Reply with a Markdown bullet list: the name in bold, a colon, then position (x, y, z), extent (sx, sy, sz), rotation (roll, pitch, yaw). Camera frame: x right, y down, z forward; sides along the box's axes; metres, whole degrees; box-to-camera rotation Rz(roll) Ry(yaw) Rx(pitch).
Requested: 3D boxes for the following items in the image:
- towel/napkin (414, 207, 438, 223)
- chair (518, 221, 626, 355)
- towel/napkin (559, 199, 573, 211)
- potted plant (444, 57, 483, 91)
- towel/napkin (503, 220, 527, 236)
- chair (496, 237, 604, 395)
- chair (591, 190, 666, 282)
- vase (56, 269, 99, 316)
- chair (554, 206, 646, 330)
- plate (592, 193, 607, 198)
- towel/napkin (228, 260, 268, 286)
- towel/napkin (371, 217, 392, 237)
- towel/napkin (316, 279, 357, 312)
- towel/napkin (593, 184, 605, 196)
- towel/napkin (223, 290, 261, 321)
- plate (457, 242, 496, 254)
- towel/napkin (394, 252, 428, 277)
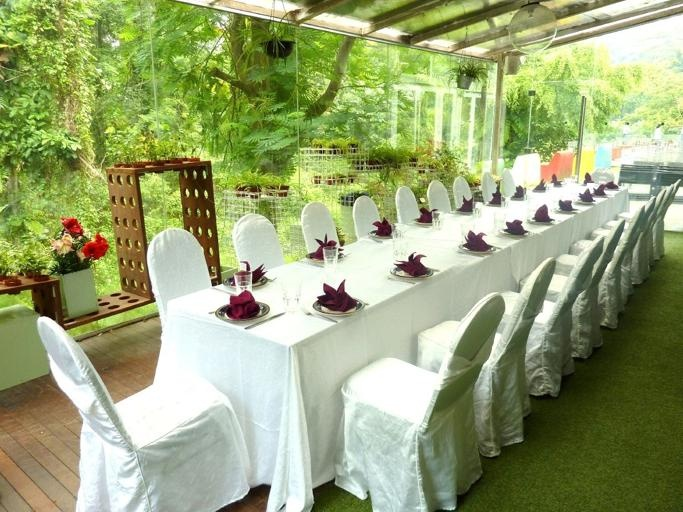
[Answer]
- **towel/napkin**: position (0.864, -0.419, 4.973), extent (0.183, 0.081, 0.149), rotation (18, 24, 41)
- **chair**: position (1.911, 0.293, 4.143), extent (0.678, 1.109, 0.612), rotation (-24, 38, -36)
- **towel/napkin**: position (2.549, -0.577, 5.649), extent (0.140, 0.146, 0.119), rotation (-7, 16, -16)
- **potted plant**: position (2.044, -2.940, 8.370), extent (0.628, 0.479, 0.638), rotation (-5, 21, -20)
- **towel/napkin**: position (1.592, -0.256, 4.569), extent (0.160, 0.072, 0.159), rotation (-17, 21, -37)
- **chair**: position (1.566, 0.488, 3.766), extent (0.672, 1.051, 0.588), rotation (-28, 41, -36)
- **chair**: position (3.205, -0.200, 5.575), extent (0.393, 0.606, 1.025), rotation (18, 36, 40)
- **vase**: position (-2.331, 0.303, 4.451), extent (0.382, 0.452, 0.397), rotation (1, 1, 33)
- **chair**: position (2.448, 0.144, 4.725), extent (0.660, 1.224, 0.757), rotation (22, 34, 38)
- **plate**: position (3.416, -0.795, 6.584), extent (0.116, 0.047, 0.091), rotation (-3, 4, 2)
- **towel/napkin**: position (-0.604, 0.133, 3.462), extent (0.177, 0.095, 0.204), rotation (0, 13, 4)
- **towel/napkin**: position (0.358, -0.254, 4.566), extent (0.179, 0.066, 0.174), rotation (-18, 29, -41)
- **towel/napkin**: position (-0.067, 0.221, 3.079), extent (0.196, 0.093, 0.200), rotation (-24, 7, -19)
- **towel/napkin**: position (3.423, -0.886, 6.705), extent (0.189, 0.197, 0.150), rotation (9, 13, 41)
- **towel/napkin**: position (-0.606, 0.291, 2.993), extent (0.221, 0.145, 0.175), rotation (-5, 14, 1)
- **plate**: position (1.119, -0.068, 4.102), extent (0.154, 0.057, 0.153), rotation (-4, 15, 5)
- **towel/napkin**: position (0.507, 0.073, 3.568), extent (0.165, 0.078, 0.190), rotation (5, 9, 14)
